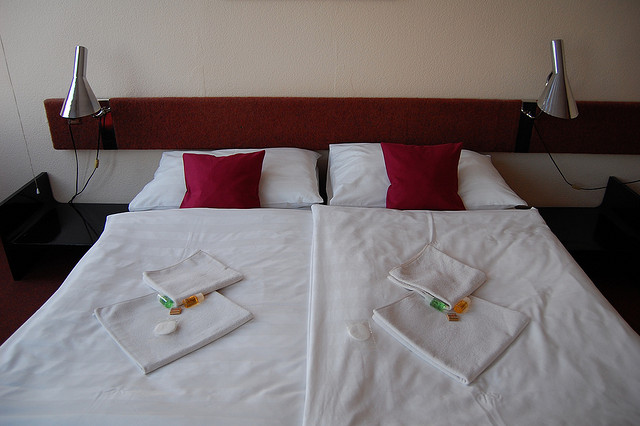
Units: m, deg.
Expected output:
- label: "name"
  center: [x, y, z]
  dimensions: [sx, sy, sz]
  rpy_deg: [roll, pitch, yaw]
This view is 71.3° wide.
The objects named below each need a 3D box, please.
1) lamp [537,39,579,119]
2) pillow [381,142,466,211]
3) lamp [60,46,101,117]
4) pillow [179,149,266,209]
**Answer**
- label: "lamp"
  center: [1.545, -0.846, 2.868]
  dimensions: [0.196, 0.481, 0.272]
  rpy_deg: [-26, 36, -37]
- label: "pillow"
  center: [0.679, -0.227, 2.957]
  dimensions: [0.416, 0.159, 0.374]
  rpy_deg: [2, 70, 2]
- label: "lamp"
  center: [-1.544, -0.858, 2.889]
  dimensions: [0.175, 0.399, 0.339]
  rpy_deg: [2, 28, 8]
- label: "pillow"
  center: [-0.657, -0.209, 2.995]
  dimensions: [0.532, 0.392, 0.190]
  rpy_deg: [1, 13, -4]
